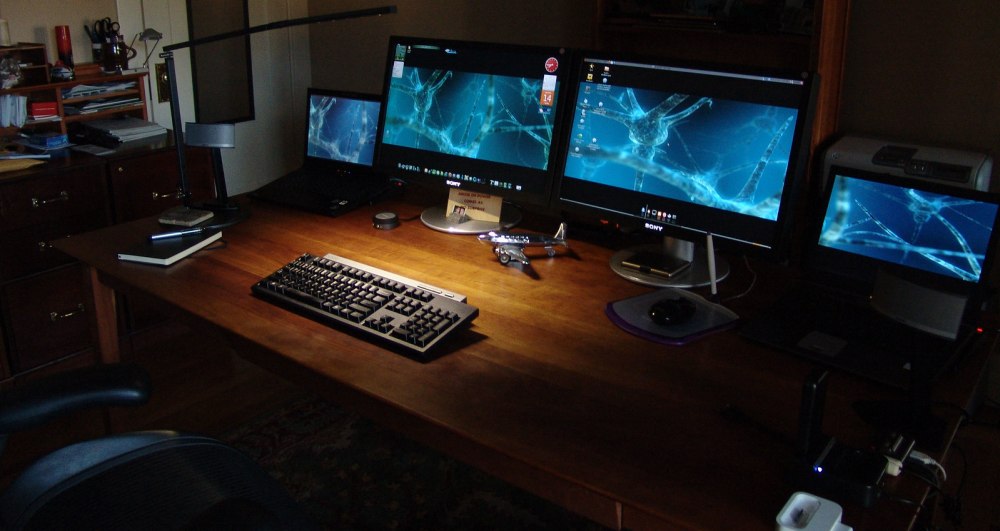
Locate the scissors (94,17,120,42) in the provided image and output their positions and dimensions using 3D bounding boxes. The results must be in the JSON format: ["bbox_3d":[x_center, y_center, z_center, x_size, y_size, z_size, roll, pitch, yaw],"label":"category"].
[{"bbox_3d":[-2.233,-1.317,3.575,0.019,0.162,0.148,42,40,15],"label":"scissors"}]

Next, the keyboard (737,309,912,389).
[{"bbox_3d":[1.121,0.298,2.096,0.387,0.052,0.599,3,9,-17],"label":"keyboard"}]

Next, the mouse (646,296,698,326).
[{"bbox_3d":[0.608,0.149,2.203,0.130,0.035,0.096,-16,28,-26],"label":"mouse"}]

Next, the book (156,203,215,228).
[{"bbox_3d":[-1.330,-0.235,2.688,0.153,0.056,0.135,6,18,16],"label":"book"}]

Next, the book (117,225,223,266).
[{"bbox_3d":[-1.363,-0.094,2.586,0.282,0.034,0.260,3,31,8],"label":"book"}]

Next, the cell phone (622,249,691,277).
[{"bbox_3d":[0.595,-0.014,2.438,0.141,0.025,0.150,-19,29,-36],"label":"cell phone"}]

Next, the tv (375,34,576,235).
[{"bbox_3d":[-0.116,-0.559,2.727,1.035,0.735,0.449,18,29,37],"label":"tv"}]

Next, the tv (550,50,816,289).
[{"bbox_3d":[0.693,-0.359,2.364,0.848,0.635,0.429,18,35,29],"label":"tv"}]
